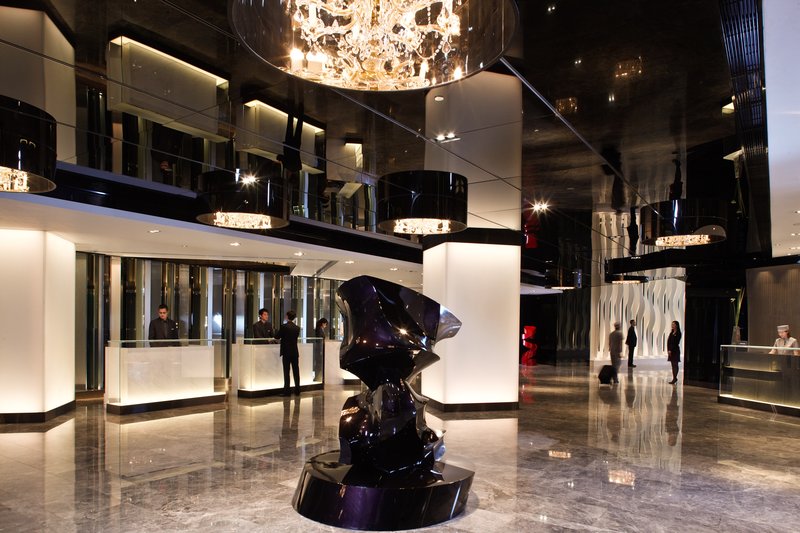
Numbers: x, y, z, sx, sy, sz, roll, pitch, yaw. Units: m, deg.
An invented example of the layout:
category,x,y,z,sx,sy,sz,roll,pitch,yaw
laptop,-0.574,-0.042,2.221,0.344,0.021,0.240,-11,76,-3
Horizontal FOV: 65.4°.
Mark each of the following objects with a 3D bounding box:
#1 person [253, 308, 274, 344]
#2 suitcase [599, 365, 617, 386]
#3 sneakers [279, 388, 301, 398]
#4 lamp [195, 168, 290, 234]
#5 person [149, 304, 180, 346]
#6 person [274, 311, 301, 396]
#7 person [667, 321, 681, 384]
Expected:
category,x,y,z,sx,sy,sz,roll,pitch,yaw
person,-3.790,1.611,17.325,0.573,0.898,1.795,1,-1,-13
suitcase,6.883,3.602,20.669,0.734,0.627,0.437,1,0,-36
sneakers,-2.926,3.376,16.718,0.568,0.238,0.192,6,5,7
lamp,-2.971,-1.226,11.748,1.240,0.596,1.237,1,-4,4
person,-5.792,1.401,15.249,0.650,0.959,2.218,1,-1,-22
person,-3.019,2.439,16.745,0.603,2.194,0.447,1,0,-12
person,9.420,2.963,21.383,0.344,2.131,0.937,1,0,23
